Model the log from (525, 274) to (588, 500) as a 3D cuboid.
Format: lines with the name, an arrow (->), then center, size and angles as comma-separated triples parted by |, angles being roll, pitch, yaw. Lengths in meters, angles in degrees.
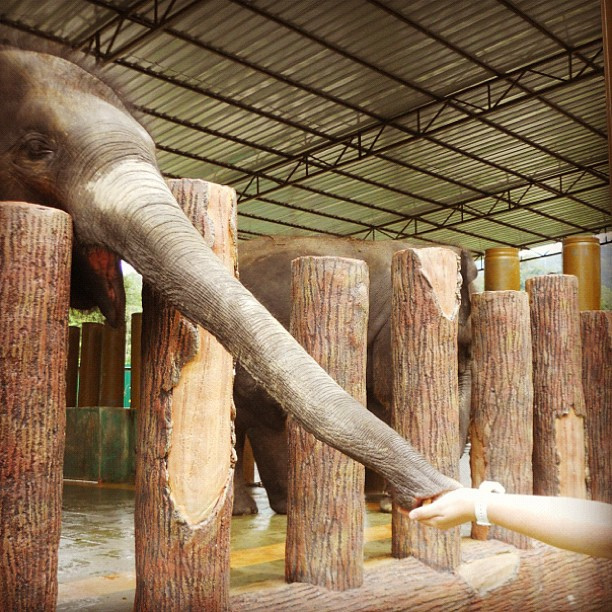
log -> 1.195, 0.380, 3.265 | 0.303, 1.047, 0.295 | -6, -13, 12

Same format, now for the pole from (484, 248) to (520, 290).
pole -> 0.943, -0.170, 3.280 | 0.174, 0.235, 0.235 | -5, -12, 14
